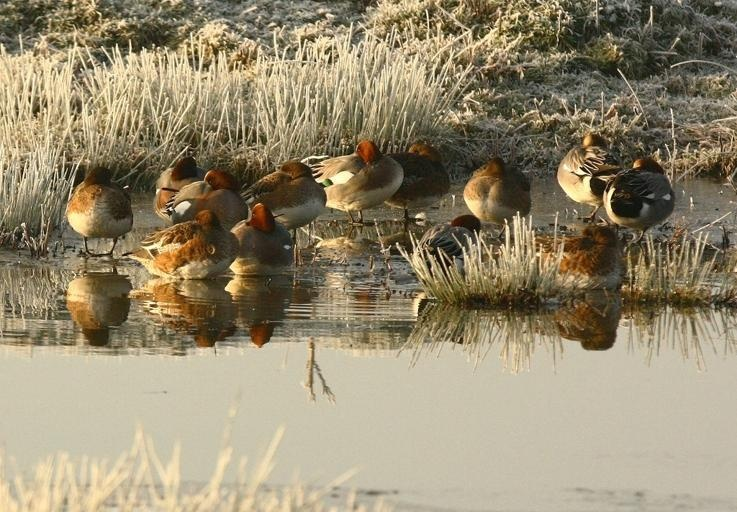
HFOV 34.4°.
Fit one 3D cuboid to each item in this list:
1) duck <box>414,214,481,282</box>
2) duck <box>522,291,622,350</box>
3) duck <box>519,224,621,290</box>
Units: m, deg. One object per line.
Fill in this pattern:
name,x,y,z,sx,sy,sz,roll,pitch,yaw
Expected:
duck,1.173,-0.207,17.885,0.832,0.608,1.429,1,1,2
duck,2.934,0.901,16.916,1.222,0.605,1.657,2,1,10
duck,3.025,-0.056,17.741,1.329,0.834,0.775,30,42,31
